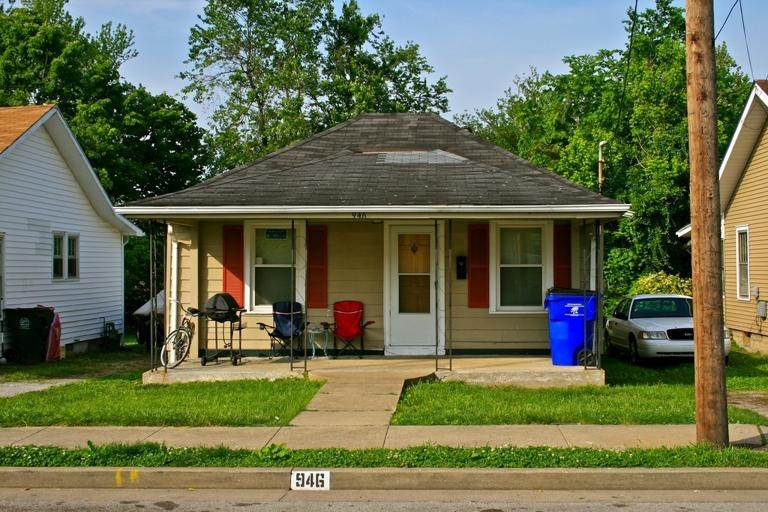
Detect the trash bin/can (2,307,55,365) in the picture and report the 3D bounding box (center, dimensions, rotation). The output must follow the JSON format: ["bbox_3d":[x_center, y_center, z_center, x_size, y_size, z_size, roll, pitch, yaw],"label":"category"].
[{"bbox_3d":[-10.343,2.286,24.952,1.712,1.653,1.384,1,3,-9],"label":"trash bin/can"}]

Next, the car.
[{"bbox_3d":[7.417,2.152,23.533,1.824,1.927,2.977,0,13,4],"label":"car"}]

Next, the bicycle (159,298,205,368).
[{"bbox_3d":[-4.901,1.940,20.836,0.823,1.482,1.652,1,14,8],"label":"bicycle"}]
